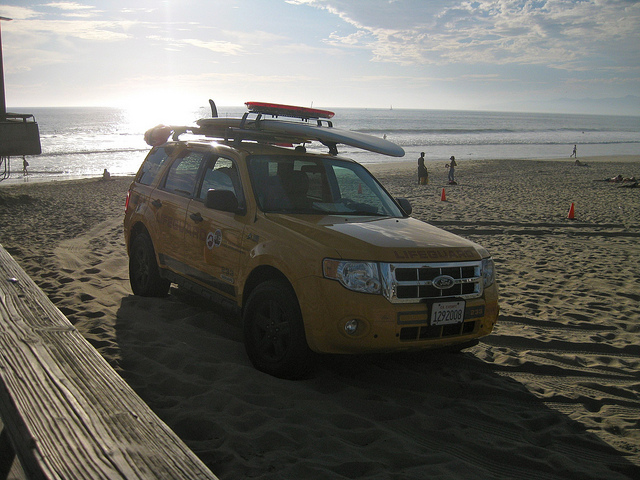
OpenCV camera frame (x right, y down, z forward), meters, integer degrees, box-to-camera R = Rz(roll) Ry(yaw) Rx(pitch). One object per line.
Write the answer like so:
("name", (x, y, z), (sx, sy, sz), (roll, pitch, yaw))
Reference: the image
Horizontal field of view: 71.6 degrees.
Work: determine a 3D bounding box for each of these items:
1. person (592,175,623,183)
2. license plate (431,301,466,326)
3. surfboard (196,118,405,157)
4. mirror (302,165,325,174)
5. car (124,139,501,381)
("person", (15.903, -3.260, 24.124), (0.959, 0.377, 1.975), (5, 11, 4))
("license plate", (1.186, 0.668, 4.013), (0.400, 0.207, 0.042), (-2, 16, -27))
("surfboard", (-0.223, -1.218, 5.192), (2.467, 0.340, 0.577), (10, 13, 31))
("mirror", (-0.058, -0.844, 5.347), (0.304, 0.101, 0.099), (-6, 16, -41))
("car", (-0.467, -0.174, 6.026), (2.813, 1.850, 5.362), (-8, 16, -37))
